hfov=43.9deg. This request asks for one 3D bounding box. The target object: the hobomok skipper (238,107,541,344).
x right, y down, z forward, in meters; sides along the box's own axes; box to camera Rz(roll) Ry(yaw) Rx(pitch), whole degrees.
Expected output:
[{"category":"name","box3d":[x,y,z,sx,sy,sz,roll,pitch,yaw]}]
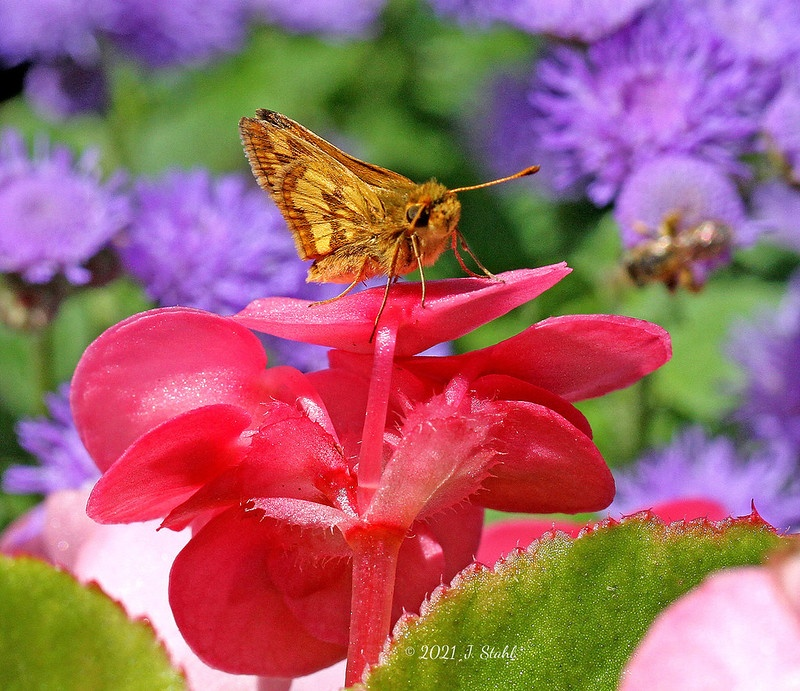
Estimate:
[{"category":"hobomok skipper","box3d":[-0.016,-0.076,0.569,0.152,0.127,0.114,0,104,7]}]

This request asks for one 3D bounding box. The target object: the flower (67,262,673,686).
[{"category":"flower","box3d":[-0.011,0.041,0.471,0.194,0.136,0.218,0,95,14]}]
